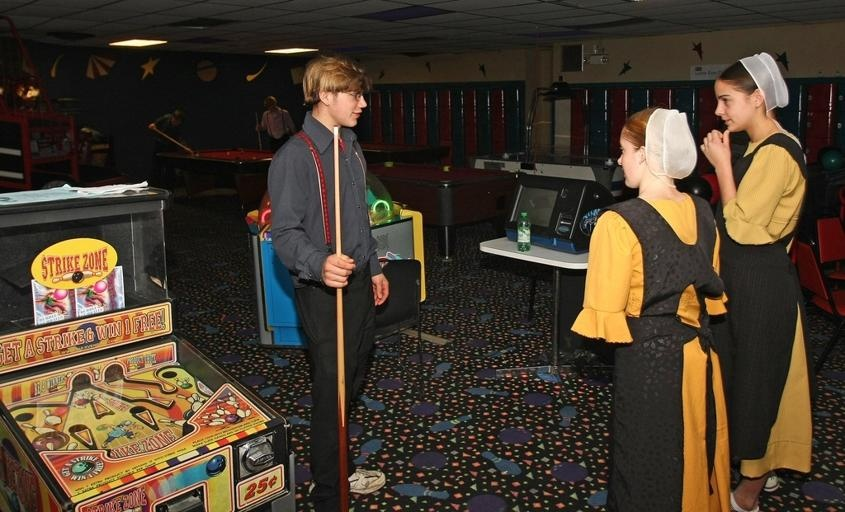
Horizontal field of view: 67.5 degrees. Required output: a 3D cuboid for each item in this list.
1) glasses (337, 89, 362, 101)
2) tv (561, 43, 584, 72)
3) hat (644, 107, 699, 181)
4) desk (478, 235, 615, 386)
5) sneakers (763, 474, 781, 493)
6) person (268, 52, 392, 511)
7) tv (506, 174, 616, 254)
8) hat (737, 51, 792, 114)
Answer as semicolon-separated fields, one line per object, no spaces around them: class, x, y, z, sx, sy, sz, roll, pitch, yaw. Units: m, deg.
glasses;-0.341;-0.819;3.190;0.077;0.049;0.161;8;17;29
tv;2.823;-3.778;11.853;0.548;0.534;0.061;7;19;36
hat;1.069;-0.508;2.876;0.336;0.283;0.091;-3;-2;-29
desk;0.960;0.343;4.967;1.112;0.924;1.117;10;14;40
sneakers;1.989;1.304;3.604;0.094;0.057;0.157;-4;15;30
person;-0.477;0.212;3.296;0.534;2.426;0.787;-1;17;2
tv;1.068;-0.352;4.797;0.569;0.479;0.701;-13;17;-29
hat;1.766;-0.900;3.257;0.296;0.282;0.172;-13;20;-37
